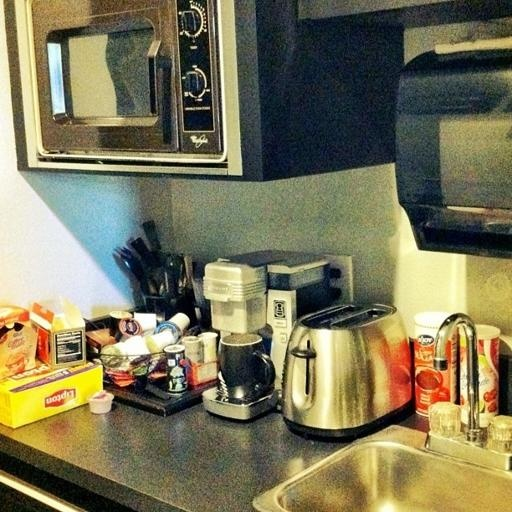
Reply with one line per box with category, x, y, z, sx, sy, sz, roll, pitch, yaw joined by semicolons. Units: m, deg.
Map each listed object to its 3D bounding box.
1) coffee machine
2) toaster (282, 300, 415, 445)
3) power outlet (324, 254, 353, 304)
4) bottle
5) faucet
coffee machine;-0.017;0.166;1.393;0.360;0.424;0.247;8;10;43
toaster;0.204;0.239;1.243;0.214;0.238;0.327;4;13;32
power outlet;0.219;0.054;1.493;0.046;0.124;0.069;-15;22;-40
bottle;-0.159;0.258;1.440;0.091;0.115;0.162;11;18;43
faucet;0.363;0.224;1.033;0.096;0.226;0.032;-3;3;-22
